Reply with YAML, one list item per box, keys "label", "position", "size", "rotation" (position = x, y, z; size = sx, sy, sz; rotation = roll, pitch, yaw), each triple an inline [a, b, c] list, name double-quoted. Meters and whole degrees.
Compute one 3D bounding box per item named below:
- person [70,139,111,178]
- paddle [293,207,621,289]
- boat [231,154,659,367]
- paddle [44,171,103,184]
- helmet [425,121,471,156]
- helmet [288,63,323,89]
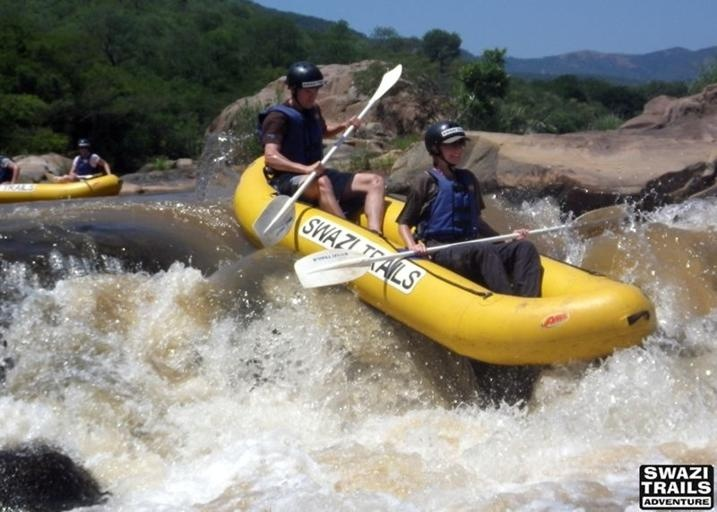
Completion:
- label: "person"
  position: [-4.202, -1.407, 12.928]
  size: [0.598, 0.744, 0.499]
  rotation: [4, -5, -6]
- label: "paddle"
  position: [0.853, -0.052, 7.969]
  size: [2.283, 0.174, 0.332]
  rotation: [-14, 55, -5]
- label: "boat"
  position: [0.664, 0.225, 7.680]
  size: [3.214, 0.585, 1.442]
  rotation: [23, 34, 33]
- label: "paddle"
  position: [-4.491, -1.231, 13.245]
  size: [0.565, 0.189, 0.695]
  rotation: [3, -6, -36]
- label: "helmet"
  position: [0.791, -1.151, 7.943]
  size: [0.306, 0.315, 0.414]
  rotation: [-23, 17, -38]
- label: "helmet"
  position: [-0.533, -1.808, 8.491]
  size: [0.246, 0.215, 0.322]
  rotation: [-13, 41, -26]
